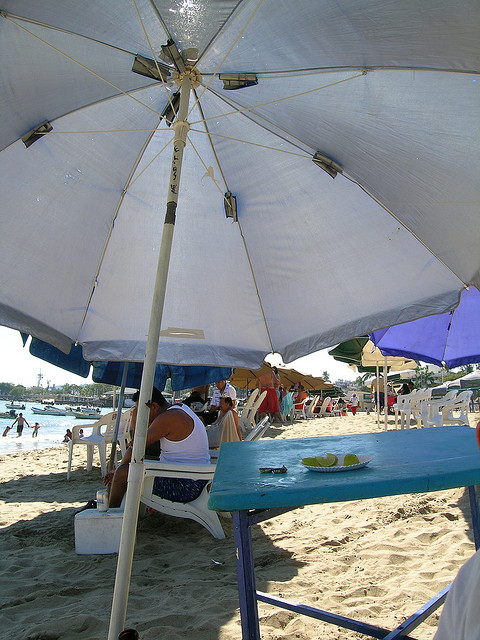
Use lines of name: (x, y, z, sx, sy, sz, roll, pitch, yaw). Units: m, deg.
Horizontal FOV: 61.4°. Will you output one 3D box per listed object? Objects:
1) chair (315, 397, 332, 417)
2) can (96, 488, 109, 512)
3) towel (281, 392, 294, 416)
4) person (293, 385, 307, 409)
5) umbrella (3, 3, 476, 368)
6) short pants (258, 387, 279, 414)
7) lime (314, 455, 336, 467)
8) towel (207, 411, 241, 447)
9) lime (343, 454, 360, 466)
chair: (4.231, 4.412, 20.556, 0.946, 1.134, 0.780, 2, -17, 6)
can: (-1.217, 1.599, 3.604, 0.092, 0.169, 0.180, 5, -8, -16)
towel: (1.721, 3.189, 15.295, 0.228, 0.842, 1.055, 0, -8, 15)
person: (2.813, 3.796, 20.190, 0.772, 0.796, 1.281, 5, 32, 16)
umbrella: (-0.077, -1.102, 3.487, 2.681, 2.466, 1.862, 29, 25, -4)
short pants: (0.926, 2.625, 13.193, 0.696, 0.842, 0.629, 4, -8, -9)
lime: (0.365, 0.611, 1.756, 0.088, 0.040, 0.053, 1, -8, 10)
towel: (-0.230, 1.492, 5.546, 0.428, 0.502, 0.262, 3, -8, -2)
lime: (0.477, 0.606, 1.751, 0.063, 0.041, 0.116, -1, -8, 24)
